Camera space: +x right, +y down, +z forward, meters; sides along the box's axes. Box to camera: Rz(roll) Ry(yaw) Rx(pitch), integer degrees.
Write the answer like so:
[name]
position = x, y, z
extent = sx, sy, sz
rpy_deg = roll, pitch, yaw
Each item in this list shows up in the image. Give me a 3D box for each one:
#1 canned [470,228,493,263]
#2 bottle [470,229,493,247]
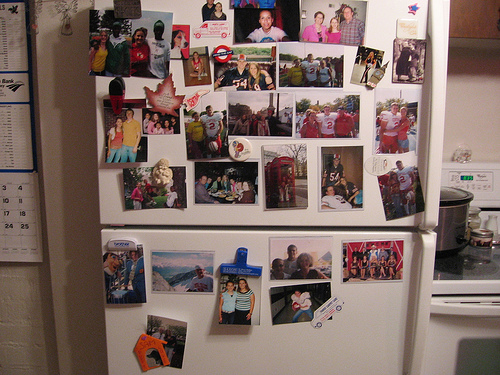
[canned]
position = 0.934, 0.233, 1.688
extent = 0.084, 0.112, 0.115
rpy_deg = 7, 11, 43
[bottle]
position = 0.933, 0.206, 1.680
extent = 0.069, 0.053, 0.071
rpy_deg = 0, 9, 0
